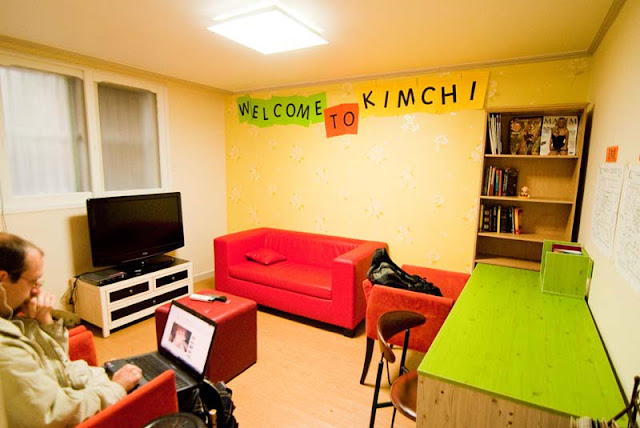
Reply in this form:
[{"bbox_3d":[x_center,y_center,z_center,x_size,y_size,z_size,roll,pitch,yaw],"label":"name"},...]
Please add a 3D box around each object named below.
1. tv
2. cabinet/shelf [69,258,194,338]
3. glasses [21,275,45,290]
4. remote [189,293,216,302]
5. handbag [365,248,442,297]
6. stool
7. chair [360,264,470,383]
[{"bbox_3d":[-2.123,0.218,4.662,0.242,0.634,0.914,7,11,39],"label":"tv"},{"bbox_3d":[-2.189,0.887,4.602,0.698,0.589,1.335,8,15,32],"label":"cabinet/shelf"},{"bbox_3d":[-1.832,0.440,2.636,0.117,0.036,0.114,-2,2,15],"label":"glasses"},{"bbox_3d":[-1.128,0.803,3.973,0.188,0.032,0.097,4,4,15],"label":"remote"},{"bbox_3d":[0.708,0.487,3.833,0.462,0.252,0.619,-19,11,-23],"label":"handbag"},{"bbox_3d":[-1.039,1.048,4.060,0.786,0.774,0.822,7,11,31],"label":"stool"},{"bbox_3d":[0.831,0.871,4.120,0.993,1.215,1.007,5,7,29],"label":"chair"}]
